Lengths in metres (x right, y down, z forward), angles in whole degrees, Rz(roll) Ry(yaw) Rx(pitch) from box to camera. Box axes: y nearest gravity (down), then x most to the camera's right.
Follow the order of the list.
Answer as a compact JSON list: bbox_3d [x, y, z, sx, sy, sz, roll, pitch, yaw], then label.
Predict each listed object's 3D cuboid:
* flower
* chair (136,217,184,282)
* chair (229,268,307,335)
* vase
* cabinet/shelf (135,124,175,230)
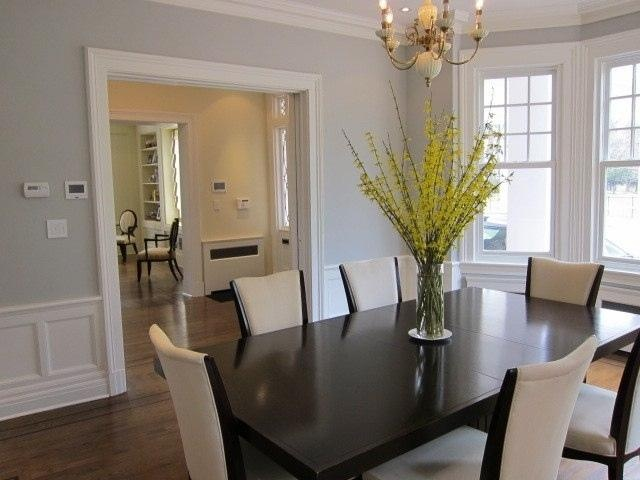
[{"bbox_3d":[0.549,-0.035,2.701,0.718,1.147,0.753,-3,-11,8],"label":"flower"},{"bbox_3d":[-2.735,0.148,8.150,0.666,1.054,0.643,1,7,0],"label":"chair"},{"bbox_3d":[-0.339,0.371,3.319,0.388,0.745,0.426,-5,3,-27],"label":"chair"},{"bbox_3d":[0.646,0.359,2.733,0.277,0.417,0.274,-2,1,31],"label":"vase"},{"bbox_3d":[-3.191,-1.145,9.448,0.502,2.229,1.649,-7,12,-28],"label":"cabinet/shelf"}]
